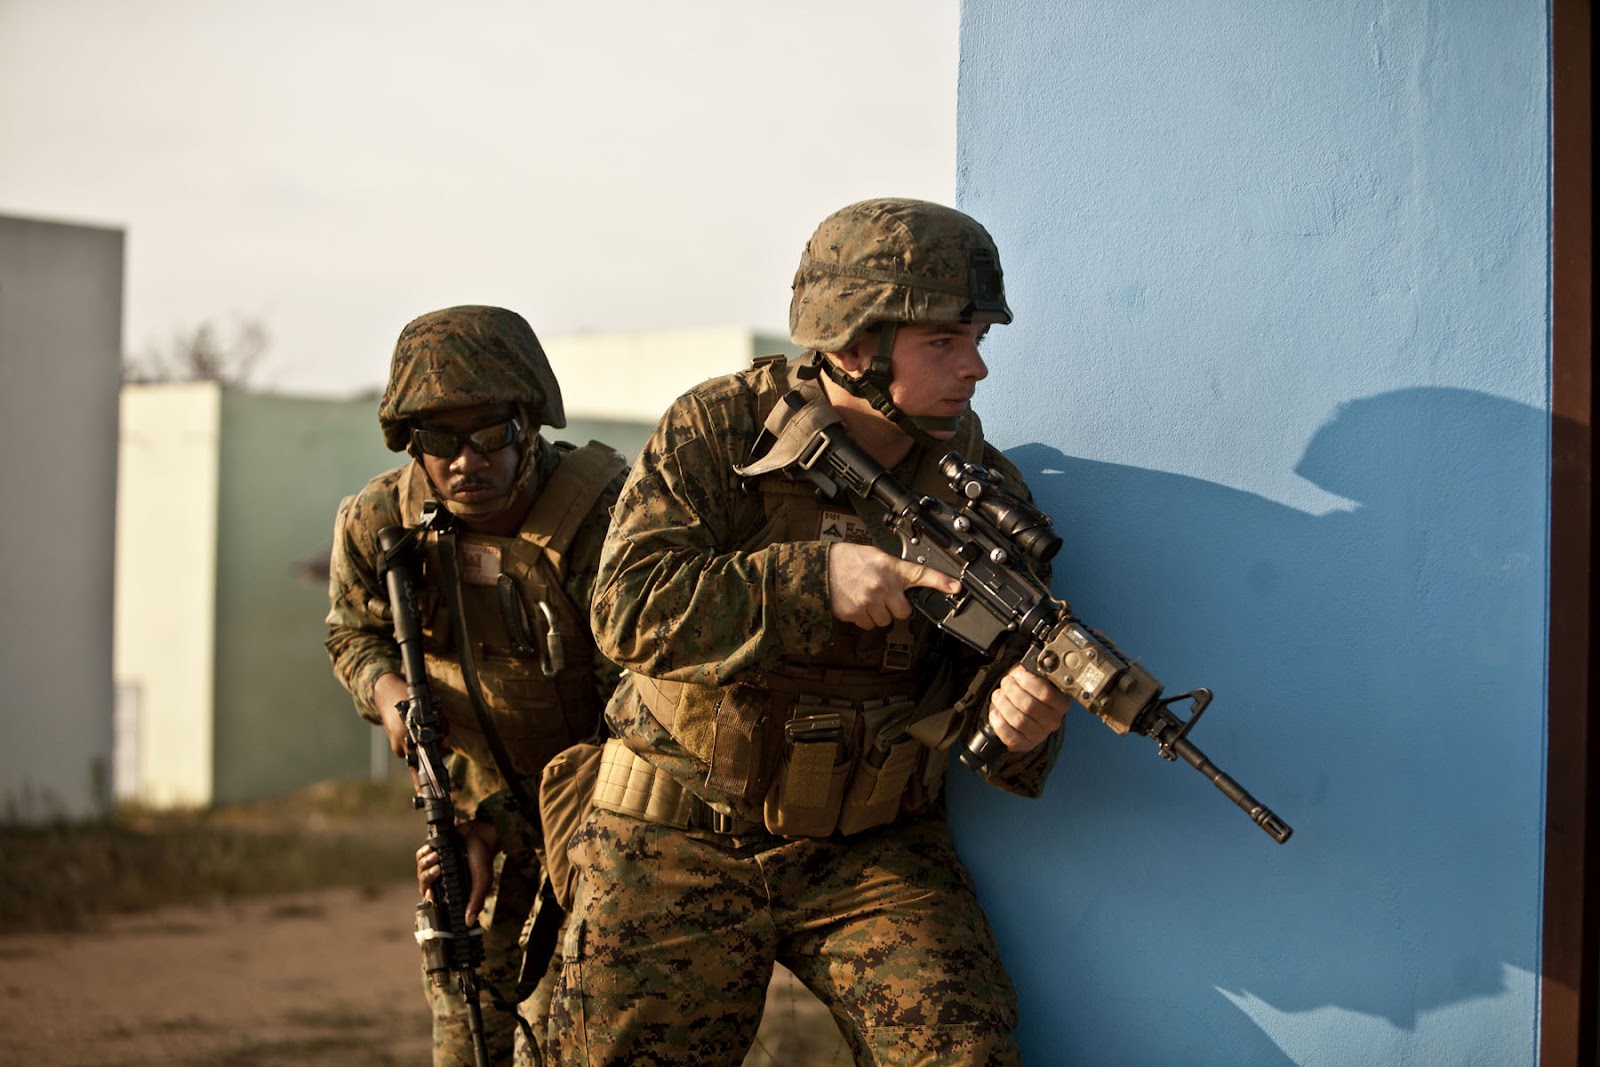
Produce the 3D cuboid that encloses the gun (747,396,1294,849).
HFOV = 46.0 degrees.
[{"bbox_3d":[0.647,0.300,5.867,1.988,0.880,0.454,37,45,1],"label":"gun"}]
